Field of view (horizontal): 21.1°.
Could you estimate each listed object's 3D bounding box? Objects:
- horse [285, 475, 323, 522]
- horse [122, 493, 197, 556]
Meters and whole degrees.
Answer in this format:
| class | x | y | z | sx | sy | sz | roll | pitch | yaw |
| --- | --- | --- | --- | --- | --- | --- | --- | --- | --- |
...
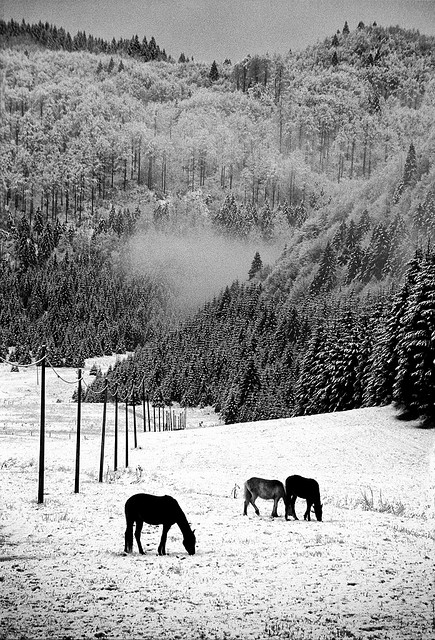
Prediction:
| class | x | y | z | sx | sy | sz | roll | pitch | yaw |
| --- | --- | --- | --- | --- | --- | --- | --- | --- | --- |
| horse | 4.039 | 8.487 | 55.272 | 1.691 | 2.225 | 0.855 | 3 | 2 | 4 |
| horse | -2.567 | 8.884 | 50.622 | 2.858 | 2.599 | 0.576 | 3 | 2 | -7 |
